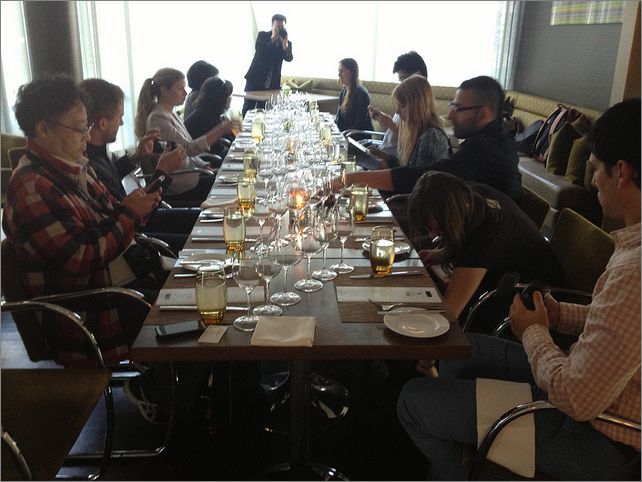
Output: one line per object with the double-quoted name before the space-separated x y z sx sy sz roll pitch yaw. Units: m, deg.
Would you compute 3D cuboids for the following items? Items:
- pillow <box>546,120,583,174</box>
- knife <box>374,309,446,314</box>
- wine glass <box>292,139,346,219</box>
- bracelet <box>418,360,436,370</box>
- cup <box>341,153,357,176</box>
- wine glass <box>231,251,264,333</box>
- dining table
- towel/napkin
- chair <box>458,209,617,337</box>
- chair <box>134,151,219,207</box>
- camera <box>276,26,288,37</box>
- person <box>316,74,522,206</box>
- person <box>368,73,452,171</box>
"pillow" 2.537 -0.966 4.705 0.179 0.486 0.460 4 18 -25
"knife" 0.289 0.231 1.475 0.127 0.007 0.015 0 50 -1
"wine glass" -0.002 -0.264 2.360 0.223 0.121 0.496 -2 31 10
"bracelet" 0.538 0.599 2.219 0.051 0.052 0.053 -3 10 -9
"cup" 0.195 -0.520 3.006 0.151 0.161 0.160 0 13 0
"wine glass" -0.241 0.135 1.435 0.091 0.217 0.254 -3 24 -8
"dining table" -0.154 0.401 1.781 0.966 0.653 1.015 -1 22 -1
"towel/napkin" 0.546 0.535 1.282 0.159 0.072 0.246 5 65 7
"chair" 0.829 0.126 1.741 0.341 0.467 0.347 9 27 -5
"chair" -1.165 -0.529 3.668 0.457 0.641 0.415 -3 29 -3
"camera" -0.628 -3.275 6.992 0.145 0.055 0.207 2 47 -2
"person" 0.715 -0.731 3.200 1.139 0.972 0.742 -1 18 8
"person" 0.646 -0.845 3.496 0.627 0.802 0.765 -4 19 7
